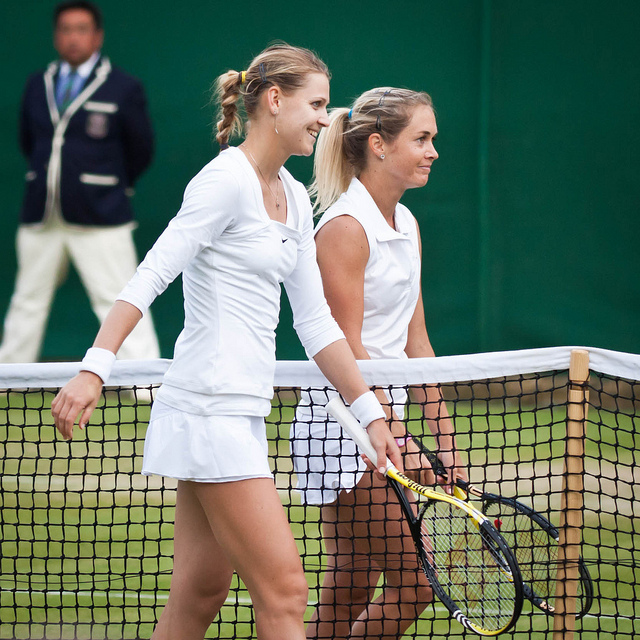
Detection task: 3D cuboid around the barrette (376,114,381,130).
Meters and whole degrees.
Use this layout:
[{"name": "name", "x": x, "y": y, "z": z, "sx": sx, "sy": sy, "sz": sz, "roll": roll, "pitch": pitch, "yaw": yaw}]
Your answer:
[{"name": "barrette", "x": 0.205, "y": -0.698, "z": 4.434, "sx": 0.021, "sy": 0.037, "sz": 0.012, "roll": 2, "pitch": 8, "yaw": -2}]

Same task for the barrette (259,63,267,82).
[{"name": "barrette", "x": -0.179, "y": -0.767, "z": 3.869, "sx": 0.012, "sy": 0.056, "sz": 0.038, "roll": -5, "pitch": 13, "yaw": -17}]

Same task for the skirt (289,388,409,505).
[{"name": "skirt", "x": 0.026, "y": 0.429, "z": 4.400, "sx": 0.148, "sy": 0.393, "sz": 0.447, "roll": 17, "pitch": -4, "yaw": -17}]

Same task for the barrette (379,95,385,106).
[{"name": "barrette", "x": 0.218, "y": -0.783, "z": 4.473, "sx": 0.018, "sy": 0.036, "sz": 0.008, "roll": -1, "pitch": -27, "yaw": 32}]

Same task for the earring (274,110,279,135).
[{"name": "earring", "x": -0.138, "y": -0.614, "z": 3.831, "sx": 0.012, "sy": 0.053, "sz": 0.035, "roll": 0, "pitch": -1, "yaw": 17}]

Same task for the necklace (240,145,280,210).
[{"name": "necklace", "x": -0.201, "y": -0.411, "z": 3.882, "sx": 0.026, "sy": 0.242, "sz": 0.070, "roll": -23, "pitch": 0, "yaw": 31}]

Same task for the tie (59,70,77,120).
[{"name": "tie", "x": -1.584, "y": -1.399, "z": 7.865, "sx": 0.059, "sy": 0.416, "sz": 0.043, "roll": 15, "pitch": 6, "yaw": 11}]

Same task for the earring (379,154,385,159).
[{"name": "earring", "x": 0.218, "y": -0.580, "z": 4.425, "sx": 0.011, "sy": 0.014, "sz": 0.020, "roll": 4, "pitch": 7, "yaw": -7}]

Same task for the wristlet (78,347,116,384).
[{"name": "wristlet", "x": -0.639, "y": 0.132, "z": 3.583, "sx": 0.101, "sy": 0.135, "sz": 0.153, "roll": -5, "pitch": 14, "yaw": -12}]

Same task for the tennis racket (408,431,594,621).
[{"name": "tennis racket", "x": 0.644, "y": 0.755, "z": 4.473, "sx": 0.051, "sy": 0.248, "sz": 0.662, "roll": -5, "pitch": 34, "yaw": -33}]

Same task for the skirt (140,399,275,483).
[{"name": "skirt", "x": -0.274, "y": 0.359, "z": 3.826, "sx": 0.244, "sy": 0.255, "sz": 0.446, "roll": 6, "pitch": -3, "yaw": 34}]

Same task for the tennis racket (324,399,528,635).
[{"name": "tennis racket", "x": 0.346, "y": 0.707, "z": 4.311, "sx": 0.060, "sy": 0.316, "sz": 0.824, "roll": -12, "pitch": 50, "yaw": -46}]
